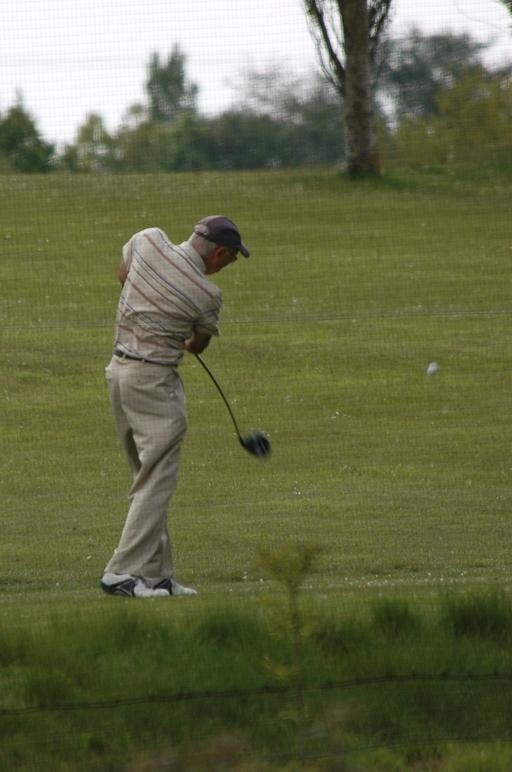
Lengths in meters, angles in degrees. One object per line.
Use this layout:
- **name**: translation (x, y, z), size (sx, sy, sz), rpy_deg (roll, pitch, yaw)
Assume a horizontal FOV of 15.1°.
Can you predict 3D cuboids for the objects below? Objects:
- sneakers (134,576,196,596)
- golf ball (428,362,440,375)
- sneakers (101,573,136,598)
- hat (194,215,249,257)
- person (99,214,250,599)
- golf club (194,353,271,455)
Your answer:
- **sneakers**: translation (-0.336, 0.750, 7.170), size (0.220, 0.098, 0.077), rpy_deg (-1, 2, -22)
- **golf ball**: translation (0.718, -0.073, 7.886), size (0.020, 0.037, 0.051), rpy_deg (8, 25, 9)
- **sneakers**: translation (-0.506, 0.730, 7.122), size (0.148, 0.078, 0.055), rpy_deg (8, 3, 19)
- **hat**: translation (-0.130, -0.565, 7.157), size (0.162, 0.089, 0.116), rpy_deg (18, 19, -37)
- **person**: translation (-0.328, 0.086, 7.194), size (0.658, 1.374, 0.358), rpy_deg (-8, 6, -12)
- **golf club**: translation (-0.087, 0.078, 7.754), size (0.069, 0.398, 0.092), rpy_deg (-31, 0, 43)
